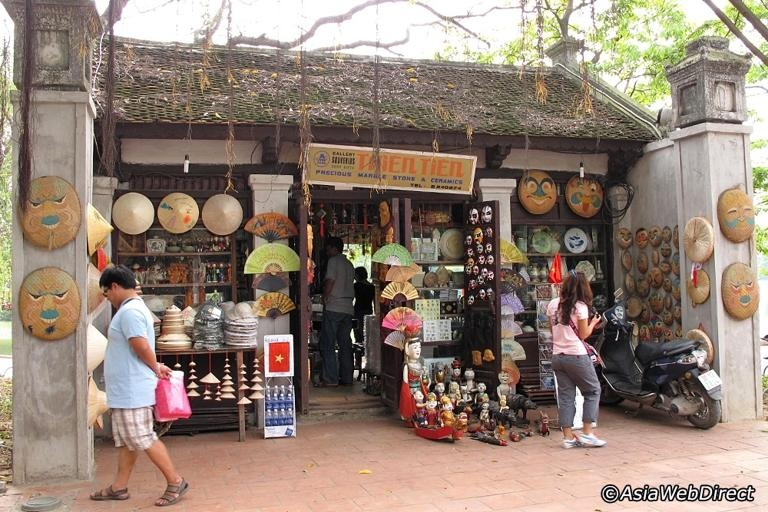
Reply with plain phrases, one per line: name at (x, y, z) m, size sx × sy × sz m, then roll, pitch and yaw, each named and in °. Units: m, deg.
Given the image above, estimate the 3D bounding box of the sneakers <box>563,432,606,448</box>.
sneakers at (2.455, 2.304, 8.326) m, size 0.544 × 0.212 × 0.196 m, roll 0°, pitch -18°, yaw 3°

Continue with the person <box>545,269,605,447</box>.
person at (2.428, 1.278, 8.381) m, size 0.685 × 2.156 × 0.614 m, roll 0°, pitch 6°, yaw 5°

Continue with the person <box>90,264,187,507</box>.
person at (-2.591, 1.342, 6.950) m, size 0.929 × 2.450 × 0.508 m, roll 2°, pitch 7°, yaw 25°

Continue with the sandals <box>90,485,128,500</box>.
sandals at (-2.881, 2.510, 7.020) m, size 0.316 × 0.112 × 0.164 m, roll 4°, pitch -6°, yaw -2°

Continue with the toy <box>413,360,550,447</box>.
toy at (1.254, 1.905, 9.157) m, size 1.923 × 0.885 × 1.515 m, roll 0°, pitch 6°, yaw 10°

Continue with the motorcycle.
motorcycle at (3.702, 1.436, 9.423) m, size 0.939 × 1.662 × 2.303 m, roll -7°, pitch 2°, yaw -25°
